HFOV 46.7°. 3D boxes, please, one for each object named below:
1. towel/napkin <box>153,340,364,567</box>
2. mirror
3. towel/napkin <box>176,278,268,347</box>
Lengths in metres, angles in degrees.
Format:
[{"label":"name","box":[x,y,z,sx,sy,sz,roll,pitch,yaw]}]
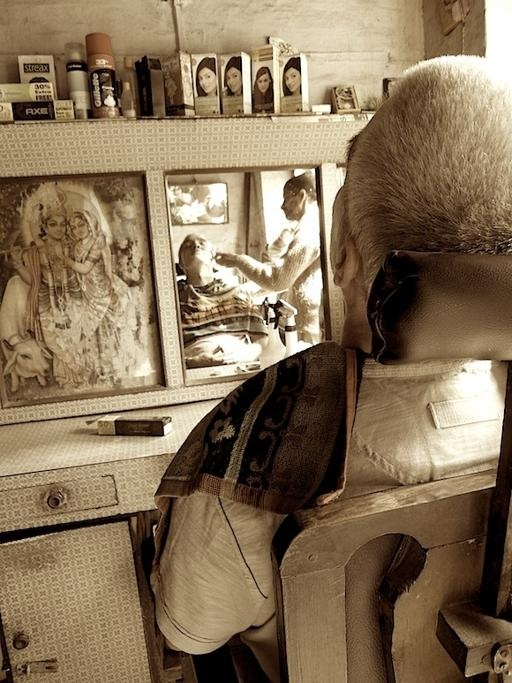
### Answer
[{"label":"towel/napkin","box":[0.028,0.084,0.836,0.282,0.071,0.292,-13,30,19]},{"label":"mirror","box":[-0.031,-0.189,1.486,0.532,0.676,0.028,-10,17,-11]},{"label":"towel/napkin","box":[-0.098,-0.079,1.604,0.236,0.185,0.115,1,-2,-6]}]
